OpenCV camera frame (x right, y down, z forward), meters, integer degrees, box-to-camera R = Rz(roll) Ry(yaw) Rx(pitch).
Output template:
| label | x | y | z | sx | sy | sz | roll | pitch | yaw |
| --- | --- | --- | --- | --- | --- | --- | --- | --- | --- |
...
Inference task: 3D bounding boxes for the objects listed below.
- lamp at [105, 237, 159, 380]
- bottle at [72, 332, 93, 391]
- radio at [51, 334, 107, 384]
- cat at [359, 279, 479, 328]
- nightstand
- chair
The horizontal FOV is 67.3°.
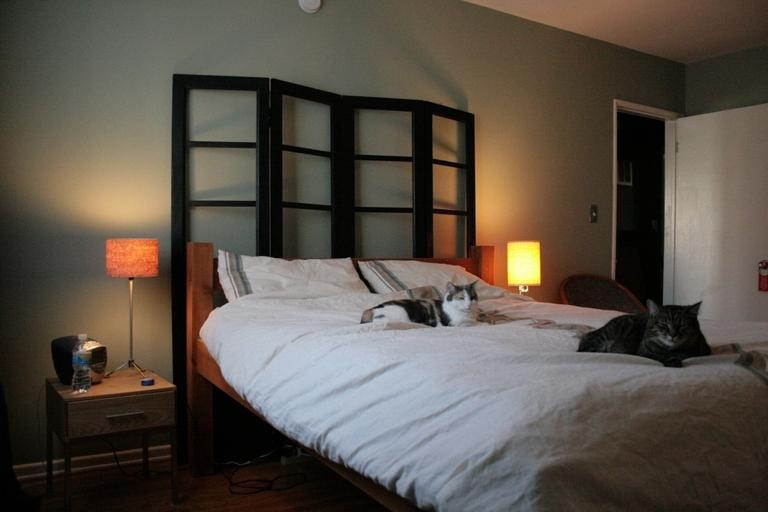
| label | x | y | z | sx | sy | sz | roll | pitch | yaw |
| --- | --- | --- | --- | --- | --- | --- | --- | --- | --- |
| lamp | -1.536 | 0.314 | 3.573 | 0.308 | 0.861 | 0.397 | -3 | 10 | -17 |
| bottle | -1.688 | 0.597 | 3.235 | 0.095 | 0.276 | 0.209 | -4 | 10 | -23 |
| radio | -1.779 | 0.603 | 3.372 | 0.307 | 0.267 | 0.243 | 2 | 5 | 16 |
| cat | 0.199 | 0.272 | 2.915 | 0.390 | 0.158 | 0.293 | -3 | 2 | -4 |
| nightstand | -1.626 | 0.971 | 3.424 | 0.674 | 0.704 | 0.729 | 4 | -7 | -36 |
| chair | 1.860 | 0.321 | 4.922 | 0.412 | 0.556 | 0.472 | 0 | -8 | -10 |
